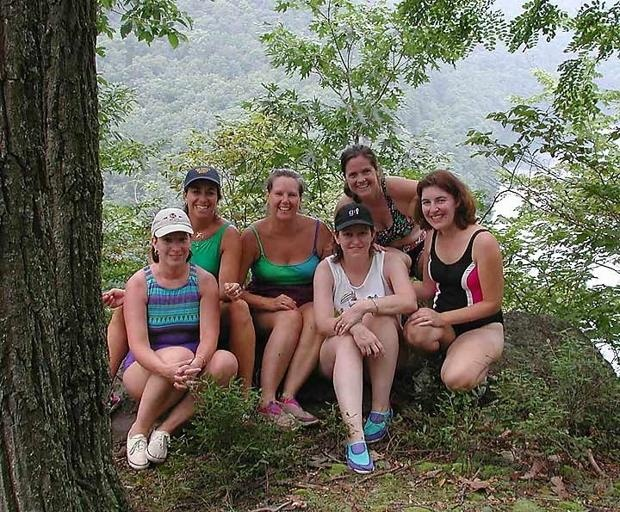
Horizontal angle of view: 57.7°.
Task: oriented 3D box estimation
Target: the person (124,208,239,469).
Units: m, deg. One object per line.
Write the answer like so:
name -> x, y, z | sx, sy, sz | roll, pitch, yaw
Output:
person -> -0.821, 0.463, 3.494 | 0.640, 1.440, 0.791 | 1, 17, -19

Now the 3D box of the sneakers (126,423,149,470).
sneakers -> -1.021, 1.129, 3.322 | 0.094, 0.091, 0.249 | -3, 33, -24

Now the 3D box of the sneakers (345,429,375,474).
sneakers -> 0.277, 1.139, 3.264 | 0.152, 0.118, 0.302 | -5, 17, -6

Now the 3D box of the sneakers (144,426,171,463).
sneakers -> -0.896, 1.121, 3.349 | 0.077, 0.082, 0.208 | 37, 3, -20

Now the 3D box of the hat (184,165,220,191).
hat -> -0.780, -0.548, 4.144 | 0.272, 0.177, 0.415 | 3, -12, -13

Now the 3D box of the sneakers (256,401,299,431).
sneakers -> -0.197, 0.996, 3.512 | 0.225, 0.114, 0.417 | 3, 14, -11

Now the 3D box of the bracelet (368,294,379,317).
bracelet -> 0.431, 0.309, 3.684 | 0.043, 0.100, 0.076 | 11, -14, -23

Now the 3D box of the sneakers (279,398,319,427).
sneakers -> -0.107, 0.989, 3.674 | 0.301, 0.118, 0.119 | 25, 7, 11

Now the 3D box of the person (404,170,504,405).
person -> 0.873, 0.126, 3.775 | 0.931, 1.344, 0.987 | -7, 12, -4

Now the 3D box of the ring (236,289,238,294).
ring -> -0.484, 0.236, 3.735 | 0.024, 0.026, 0.029 | 2, 17, -2

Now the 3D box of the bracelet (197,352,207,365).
bracelet -> -0.654, 0.625, 3.417 | 0.052, 0.043, 0.067 | 3, -26, 10

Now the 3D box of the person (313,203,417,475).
person -> 0.378, 0.555, 3.576 | 0.661, 1.093, 1.048 | 4, 15, -9
